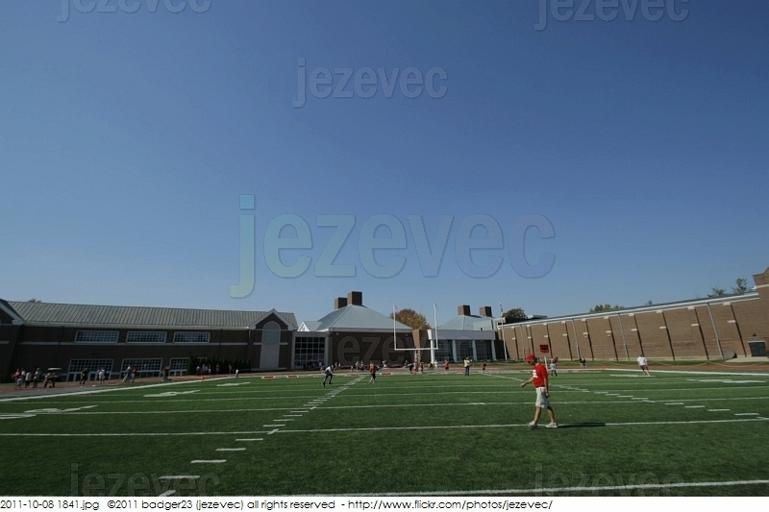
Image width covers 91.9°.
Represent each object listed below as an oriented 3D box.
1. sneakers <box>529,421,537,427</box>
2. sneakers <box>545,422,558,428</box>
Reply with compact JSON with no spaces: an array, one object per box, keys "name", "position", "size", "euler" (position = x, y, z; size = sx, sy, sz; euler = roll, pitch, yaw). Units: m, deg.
[{"name":"sneakers","position":[5.051,5.648,12.582],"size":[0.229,0.246,0.626],"euler":[-10,-17,20]},{"name":"sneakers","position":[5.619,5.658,12.417],"size":[0.412,0.160,0.166],"euler":[3,-18,-3]}]
